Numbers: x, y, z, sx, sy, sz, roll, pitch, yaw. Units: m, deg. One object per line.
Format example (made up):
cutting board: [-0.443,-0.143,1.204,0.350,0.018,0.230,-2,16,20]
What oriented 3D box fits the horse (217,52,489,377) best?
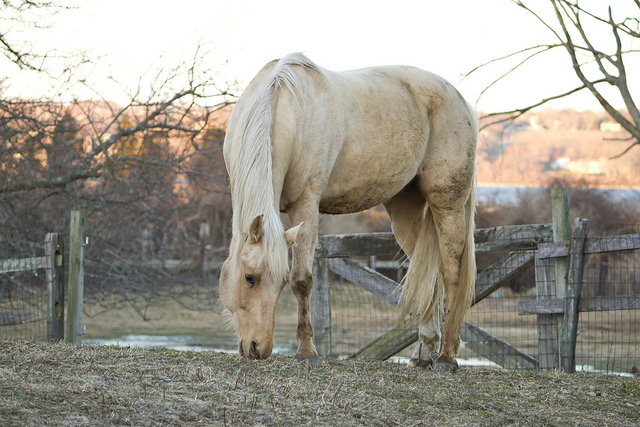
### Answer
horse: [0.471,0.092,26.419,6.636,5.447,1.790,1,-4,-41]
